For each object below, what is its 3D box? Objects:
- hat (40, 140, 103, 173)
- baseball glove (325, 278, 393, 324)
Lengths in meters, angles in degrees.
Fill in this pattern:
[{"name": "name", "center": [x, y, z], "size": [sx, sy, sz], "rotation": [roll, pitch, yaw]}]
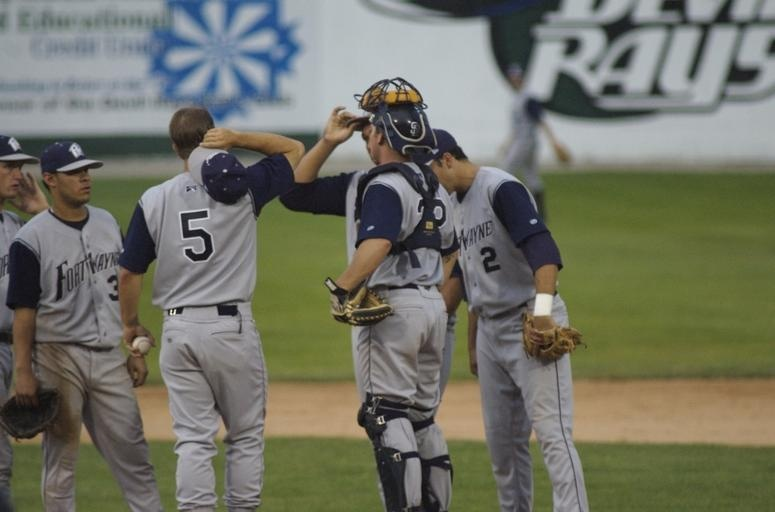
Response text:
[{"name": "hat", "center": [-4.398, -1.318, 25.165], "size": [0.621, 0.340, 0.469], "rotation": [0, 3, 10]}, {"name": "baseball glove", "center": [-0.387, 0.689, 24.453], "size": [0.649, 0.706, 0.350], "rotation": [-3, 47, 14]}]
